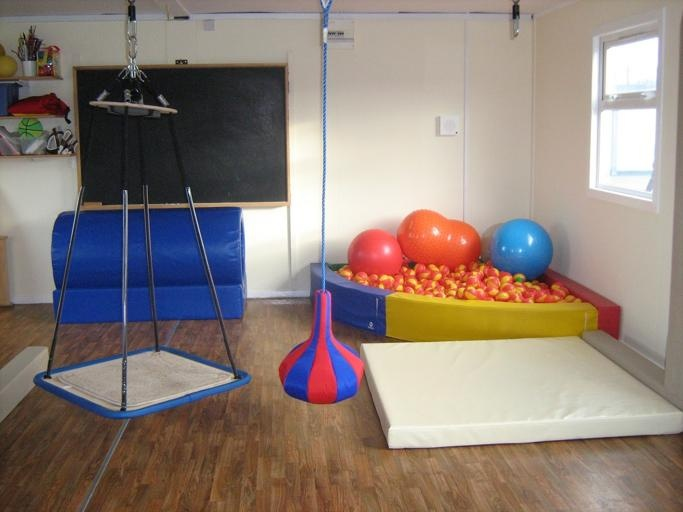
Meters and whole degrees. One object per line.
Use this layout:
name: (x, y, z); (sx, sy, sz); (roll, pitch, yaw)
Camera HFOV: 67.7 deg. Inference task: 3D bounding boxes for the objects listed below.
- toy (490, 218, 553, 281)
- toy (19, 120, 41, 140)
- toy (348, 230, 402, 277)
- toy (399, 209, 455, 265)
toy: (1.653, -0.083, 4.855); (0.489, 0.660, 0.528); (1, 7, 10)
toy: (-3.067, -1.228, 5.051); (0.170, 0.200, 0.188); (2, 11, -3)
toy: (0.339, -0.046, 4.912); (0.409, 0.545, 0.414); (-7, 21, 8)
toy: (0.921, -0.175, 5.211); (0.550, 0.616, 0.792); (0, -8, -11)
